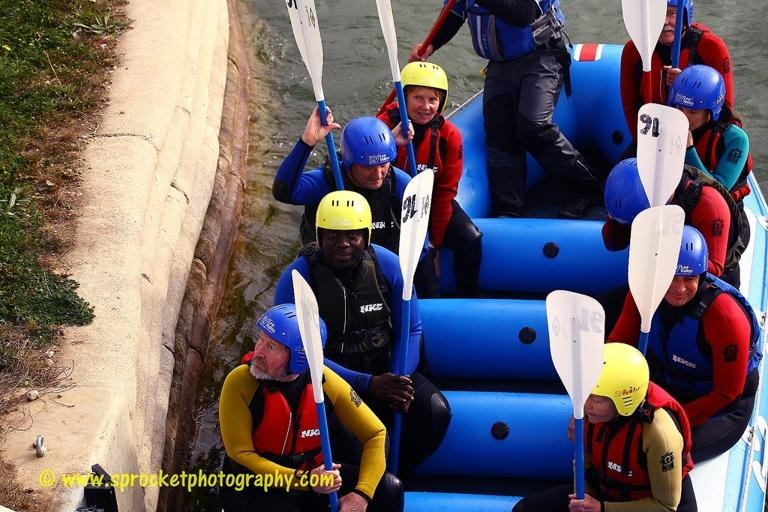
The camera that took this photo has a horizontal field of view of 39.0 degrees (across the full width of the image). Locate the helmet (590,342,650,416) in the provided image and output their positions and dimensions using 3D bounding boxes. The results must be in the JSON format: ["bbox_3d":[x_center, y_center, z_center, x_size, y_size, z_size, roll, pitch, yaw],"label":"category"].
[{"bbox_3d":[1.385,0.727,6.406,0.323,0.353,0.430,1,-23,-11],"label":"helmet"}]

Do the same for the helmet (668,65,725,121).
[{"bbox_3d":[2.330,-1.190,8.010,0.314,0.425,0.372,4,32,30],"label":"helmet"}]

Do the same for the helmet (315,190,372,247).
[{"bbox_3d":[-0.270,-0.248,7.066,0.259,0.273,0.353,4,18,-1],"label":"helmet"}]

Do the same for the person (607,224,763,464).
[{"bbox_3d":[1.891,0.605,6.831,0.898,1.206,0.834,-24,42,-16],"label":"person"}]

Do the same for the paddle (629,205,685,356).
[{"bbox_3d":[1.608,0.081,6.458,0.291,0.788,0.233,2,31,8],"label":"paddle"}]

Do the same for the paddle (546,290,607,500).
[{"bbox_3d":[1.132,0.794,6.326,0.254,1.247,0.418,-13,32,-18],"label":"paddle"}]

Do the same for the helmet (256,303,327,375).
[{"bbox_3d":[-0.609,0.488,6.608,0.459,0.362,0.329,16,13,-38],"label":"helmet"}]

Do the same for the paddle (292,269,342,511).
[{"bbox_3d":[-0.397,0.806,6.377,0.056,1.472,0.215,8,18,39],"label":"paddle"}]

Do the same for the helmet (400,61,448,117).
[{"bbox_3d":[0.345,-1.303,8.324,0.326,0.379,0.406,5,-4,-12],"label":"helmet"}]

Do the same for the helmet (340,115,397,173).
[{"bbox_3d":[-0.119,-0.786,7.611,0.300,0.348,0.384,-6,22,-22],"label":"helmet"}]

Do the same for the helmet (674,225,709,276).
[{"bbox_3d":[1.935,-0.028,6.821,0.226,0.308,0.269,1,0,16],"label":"helmet"}]

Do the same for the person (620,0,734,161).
[{"bbox_3d":[2.268,-1.366,8.660,0.852,1.125,0.400,4,1,7],"label":"person"}]
